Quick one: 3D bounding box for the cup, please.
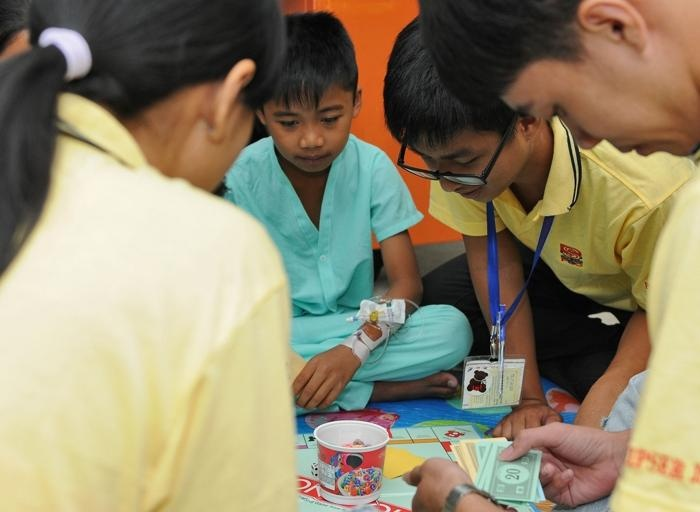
[{"bbox_3d":[0.005,0.639,1.993,0.227,0.200,0.201,-1,8,-4],"label":"cup"}]
